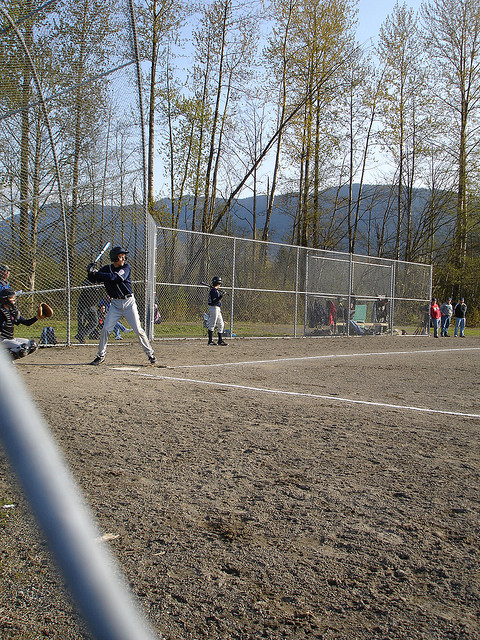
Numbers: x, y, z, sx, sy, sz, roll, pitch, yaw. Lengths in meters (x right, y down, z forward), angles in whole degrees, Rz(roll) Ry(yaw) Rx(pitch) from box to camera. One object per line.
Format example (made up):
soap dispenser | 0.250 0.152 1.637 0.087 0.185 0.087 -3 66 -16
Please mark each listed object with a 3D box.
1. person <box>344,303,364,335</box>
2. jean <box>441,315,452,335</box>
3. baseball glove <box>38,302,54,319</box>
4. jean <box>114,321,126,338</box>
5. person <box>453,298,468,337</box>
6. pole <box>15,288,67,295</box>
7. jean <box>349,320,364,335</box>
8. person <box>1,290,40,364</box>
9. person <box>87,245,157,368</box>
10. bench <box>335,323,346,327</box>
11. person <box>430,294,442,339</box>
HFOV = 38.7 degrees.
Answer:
person | 3.616 0.022 22.262 0.405 1.011 1.136 1 1 25
jean | 8.151 0.248 27.331 0.340 0.758 1.340 1 1 17
baseball glove | -2.506 -0.100 8.829 0.060 0.204 0.149 -3 -24 26
jean | -2.811 0.280 16.027 0.281 0.181 0.342 -1 4 0
person | 8.553 -0.033 26.668 0.467 1.502 3.148 1 1 18
pole | -3.431 -0.466 11.846 0.447 0.145 1.421 1 1 8
jean | 3.782 0.306 22.463 0.163 0.621 0.302 -20 9 45
person | -2.828 0.130 8.810 0.445 0.970 1.360 0 1 -17
person | -1.712 -0.176 9.992 0.800 1.842 0.569 -4 15 -12
bench | 3.199 0.218 22.127 0.409 0.126 0.161 0 1 -39
person | 7.435 -0.102 26.148 0.461 1.574 2.397 1 1 16
